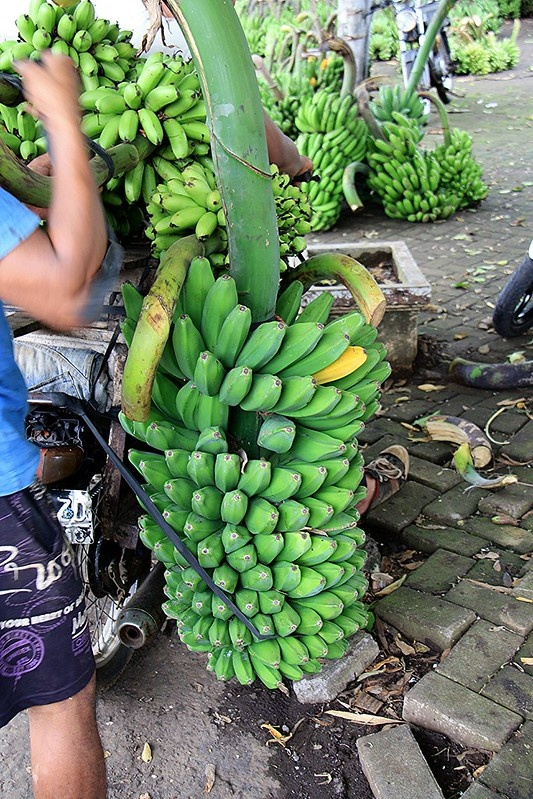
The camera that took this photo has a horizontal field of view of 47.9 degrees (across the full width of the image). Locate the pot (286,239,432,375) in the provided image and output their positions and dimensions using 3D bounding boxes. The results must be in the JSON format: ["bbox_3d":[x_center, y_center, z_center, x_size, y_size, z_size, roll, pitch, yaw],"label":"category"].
[{"bbox_3d":[0.806,-0.515,4.182,0.718,0.557,0.842,1,13,15],"label":"pot"}]
